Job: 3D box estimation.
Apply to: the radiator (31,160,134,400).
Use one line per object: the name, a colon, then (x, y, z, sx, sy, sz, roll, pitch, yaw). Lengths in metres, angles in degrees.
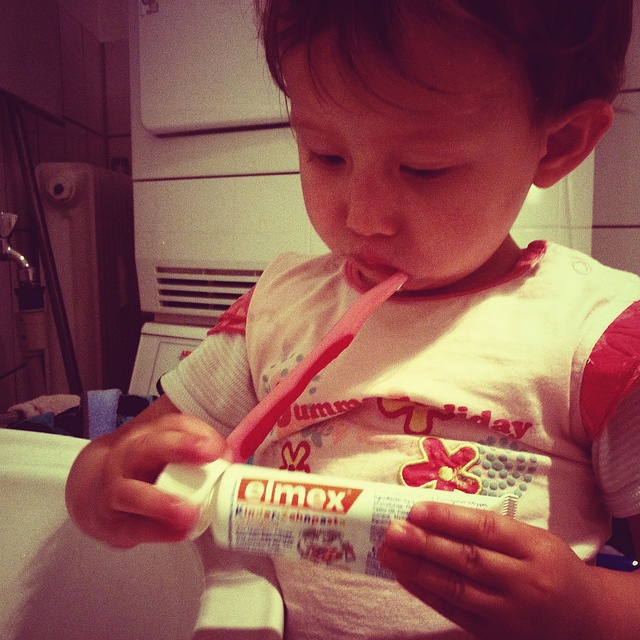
radiator: (-0.451, -0.093, 1.302, 0.122, 0.466, 0.109, 10, 13, 42)

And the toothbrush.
toothbrush: (0.002, 0.054, 0.693, 0.037, 0.236, 0.054, 38, -11, 23)

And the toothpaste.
toothpaste: (0.008, 0.161, 0.542, 0.285, 0.079, 0.041, 1, 6, 2)
